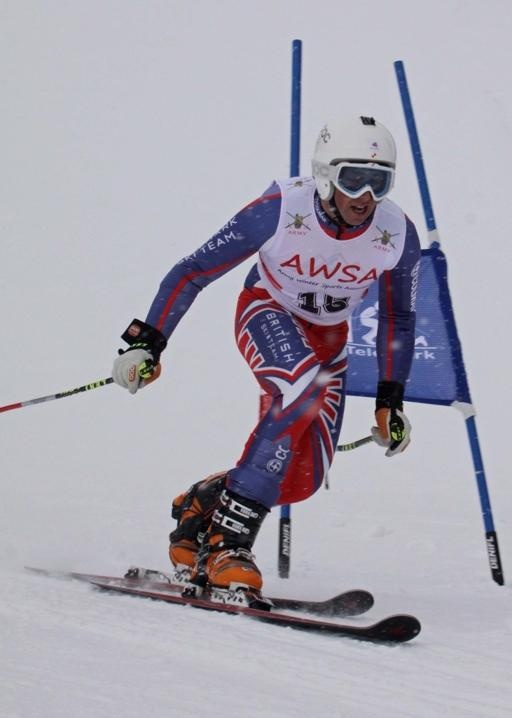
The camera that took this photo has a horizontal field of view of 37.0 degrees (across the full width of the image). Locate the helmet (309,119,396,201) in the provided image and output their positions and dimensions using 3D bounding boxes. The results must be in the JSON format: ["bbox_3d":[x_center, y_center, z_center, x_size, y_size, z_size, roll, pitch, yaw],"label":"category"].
[{"bbox_3d":[0.353,-0.723,2.717,0.295,0.272,0.344,-6,26,-19],"label":"helmet"}]

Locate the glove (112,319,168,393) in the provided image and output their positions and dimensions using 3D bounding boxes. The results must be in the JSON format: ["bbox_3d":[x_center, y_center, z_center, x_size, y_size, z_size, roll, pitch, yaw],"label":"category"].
[{"bbox_3d":[-0.408,-0.013,2.661,0.173,0.263,0.148,5,-4,-10],"label":"glove"}]

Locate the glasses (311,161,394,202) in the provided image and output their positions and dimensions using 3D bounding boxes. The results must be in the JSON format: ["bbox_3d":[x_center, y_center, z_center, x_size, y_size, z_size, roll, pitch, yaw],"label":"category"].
[{"bbox_3d":[0.318,-0.614,2.629,0.292,0.155,0.150,2,-4,15],"label":"glasses"}]

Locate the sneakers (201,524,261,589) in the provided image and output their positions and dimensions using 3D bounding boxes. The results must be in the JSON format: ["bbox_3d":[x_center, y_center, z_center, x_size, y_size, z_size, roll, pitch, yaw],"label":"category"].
[{"bbox_3d":[-0.085,0.691,2.627,0.203,0.199,0.161,3,-4,8],"label":"sneakers"}]
